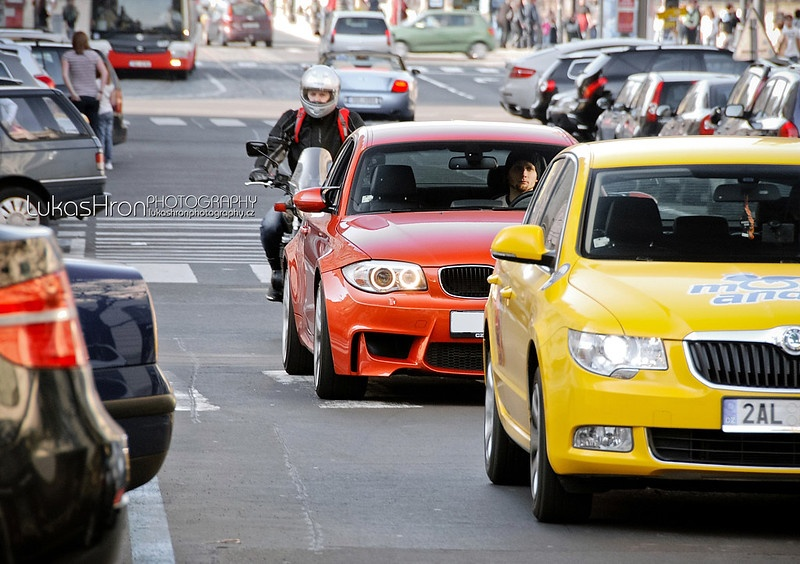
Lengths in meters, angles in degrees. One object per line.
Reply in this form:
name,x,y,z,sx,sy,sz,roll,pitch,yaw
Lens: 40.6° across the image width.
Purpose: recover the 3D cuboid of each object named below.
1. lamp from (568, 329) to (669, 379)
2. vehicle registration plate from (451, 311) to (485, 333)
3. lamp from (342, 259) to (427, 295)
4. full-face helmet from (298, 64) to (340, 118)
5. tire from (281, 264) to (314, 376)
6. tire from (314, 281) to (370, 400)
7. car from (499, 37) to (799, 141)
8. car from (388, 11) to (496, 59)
lamp,1.013,0.341,4.985,0.238,0.122,0.293,4,10,-9
vehicle registration plate,0.497,0.309,8.225,0.187,0.114,0.024,-2,2,-3
lamp,-0.116,-0.037,8.419,0.422,0.154,0.312,5,0,-11
full-face helmet,-0.910,-2.136,12.008,0.444,0.528,0.580,4,21,-3
tire,-0.938,0.363,9.764,0.333,1.026,1.023,3,0,-4
tire,-0.513,0.489,8.812,0.409,0.932,0.563,-1,5,-7
car,6.891,-5.480,30.505,2.964,2.191,6.493,-2,9,-6
car,2.856,-15.987,68.623,7.451,2.882,4.066,1,8,-3
